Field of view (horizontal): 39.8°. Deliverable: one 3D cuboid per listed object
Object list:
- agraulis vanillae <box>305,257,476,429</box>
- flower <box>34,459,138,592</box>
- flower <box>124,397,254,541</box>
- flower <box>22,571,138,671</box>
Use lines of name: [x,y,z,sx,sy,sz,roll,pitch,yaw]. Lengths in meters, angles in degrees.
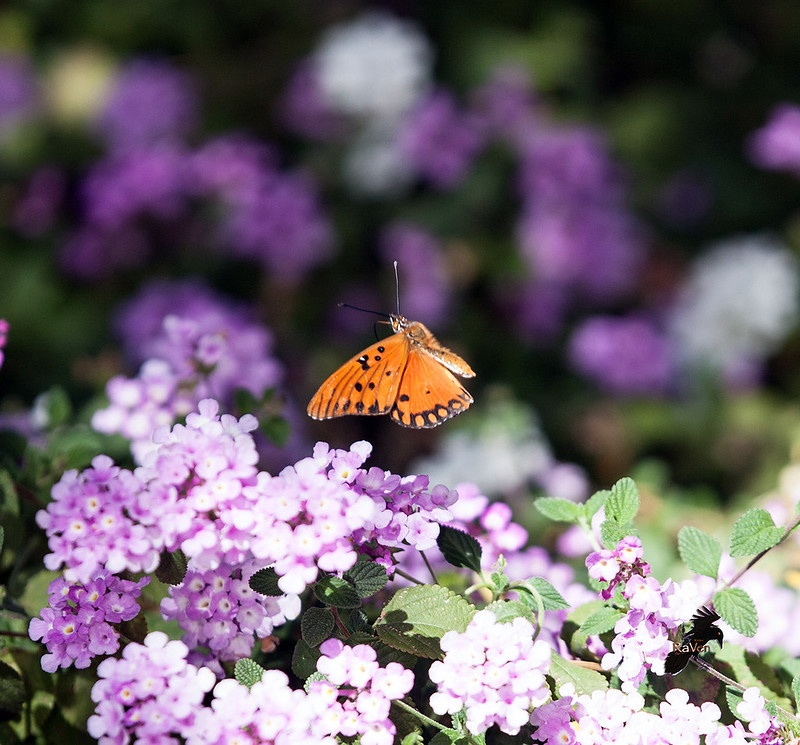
agraulis vanillae: [-0.007,0.018,2.489,0.254,0.379,0.193,44,116,6]
flower: [-0.521,0.248,1.866,0.193,0.185,0.205,-9,78,-3]
flower: [-0.335,0.159,1.815,0.210,0.094,0.229,-9,79,-3]
flower: [-0.541,0.385,1.802,0.151,0.050,0.183,-20,92,-1]
